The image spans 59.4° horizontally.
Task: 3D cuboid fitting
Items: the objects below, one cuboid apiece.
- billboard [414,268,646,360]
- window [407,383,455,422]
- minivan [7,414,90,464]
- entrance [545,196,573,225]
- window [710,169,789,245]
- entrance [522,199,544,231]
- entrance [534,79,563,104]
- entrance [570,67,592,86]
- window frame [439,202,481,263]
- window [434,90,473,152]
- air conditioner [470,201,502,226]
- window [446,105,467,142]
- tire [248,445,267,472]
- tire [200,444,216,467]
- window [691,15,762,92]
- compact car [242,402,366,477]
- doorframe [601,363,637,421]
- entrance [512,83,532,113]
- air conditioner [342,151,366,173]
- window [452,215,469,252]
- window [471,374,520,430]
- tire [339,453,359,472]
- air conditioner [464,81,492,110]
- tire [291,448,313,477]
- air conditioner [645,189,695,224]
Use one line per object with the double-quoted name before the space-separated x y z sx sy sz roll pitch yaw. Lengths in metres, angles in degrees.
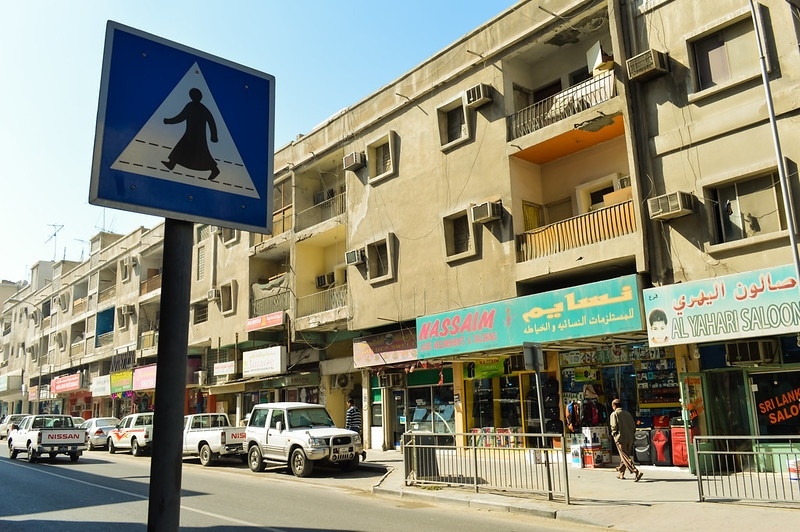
"billboard" 4.454 2.322 26.299 9.011 2.025 1.343 -14 -27 33
"window" 1.445 6.037 30.793 0.074 1.365 1.788 20 -20 -40
"minivan" -16.719 8.119 33.200 2.061 1.688 3.910 12 -15 -39
"entrance" 6.228 -2.120 27.334 0.132 1.006 0.992 10 -17 -29
"window" 11.009 -1.823 21.977 0.218 2.397 2.130 -1 -1 -44
"entrance" 5.187 -1.920 27.579 1.138 1.337 0.126 3 -14 -38
"entrance" 5.936 -6.906 27.932 0.210 0.368 1.303 2 -4 -29
"entrance" 6.959 -7.226 26.936 0.387 0.769 0.740 18 -33 -29
"window frame" 2.494 -1.307 28.548 0.571 2.156 1.603 17 -32 -37
"window" 2.289 -5.998 29.295 0.315 2.745 2.148 1 -11 -42
"air conditioner" 3.406 -2.052 27.409 0.656 0.626 1.074 -1 -1 -42
"window" 2.423 -5.923 29.485 0.125 1.874 1.282 3 -10 -34
"tire" -5.362 7.334 26.662 0.359 1.114 0.994 7 -9 -41
"tire" -7.993 7.963 29.388 0.271 0.852 0.770 8 -21 -39
"window" 10.590 -6.811 22.622 0.159 2.462 2.201 3 -12 -43
"compact car" -3.876 6.544 26.358 2.316 2.166 4.029 8 -18 -36
"doorframe" 7.950 4.551 25.446 1.227 2.439 0.111 -4 26 19
"entrance" 4.840 -6.653 28.089 1.076 1.347 0.168 15 -22 -32
"air conditioner" -2.068 -4.525 32.929 0.671 0.879 1.263 0 -5 -31
"window" 2.563 -1.094 29.066 0.635 1.325 0.125 -6 0 2
"window" 3.951 5.557 28.320 0.585 1.982 1.780 14 -22 -35
"tire" -1.856 7.217 25.689 0.312 0.848 0.770 8 -15 -29
"air conditioner" 3.324 -6.794 28.267 0.864 0.758 1.236 2 6 -44
"tire" -3.451 7.018 24.989 0.345 1.089 0.977 6 -9 -37
"air conditioner" 8.817 -1.935 23.014 0.778 0.852 1.358 8 -12 -19
